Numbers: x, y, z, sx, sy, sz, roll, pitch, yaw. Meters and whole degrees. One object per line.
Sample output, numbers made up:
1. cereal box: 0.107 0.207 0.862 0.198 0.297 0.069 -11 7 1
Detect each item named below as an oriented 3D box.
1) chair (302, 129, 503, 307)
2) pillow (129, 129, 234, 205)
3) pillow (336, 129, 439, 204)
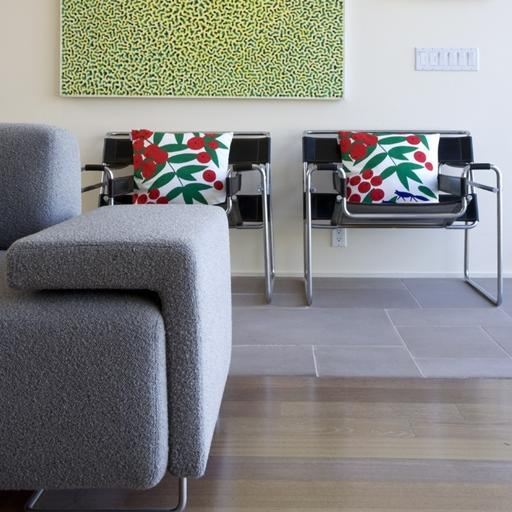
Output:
1. chair: 0.597 -0.180 2.152 0.752 0.668 0.474 1 7 8
2. pillow: -0.314 -0.370 2.094 0.436 0.311 0.149 0 -18 1
3. pillow: 0.589 -0.384 2.161 0.412 0.327 0.154 1 16 14
